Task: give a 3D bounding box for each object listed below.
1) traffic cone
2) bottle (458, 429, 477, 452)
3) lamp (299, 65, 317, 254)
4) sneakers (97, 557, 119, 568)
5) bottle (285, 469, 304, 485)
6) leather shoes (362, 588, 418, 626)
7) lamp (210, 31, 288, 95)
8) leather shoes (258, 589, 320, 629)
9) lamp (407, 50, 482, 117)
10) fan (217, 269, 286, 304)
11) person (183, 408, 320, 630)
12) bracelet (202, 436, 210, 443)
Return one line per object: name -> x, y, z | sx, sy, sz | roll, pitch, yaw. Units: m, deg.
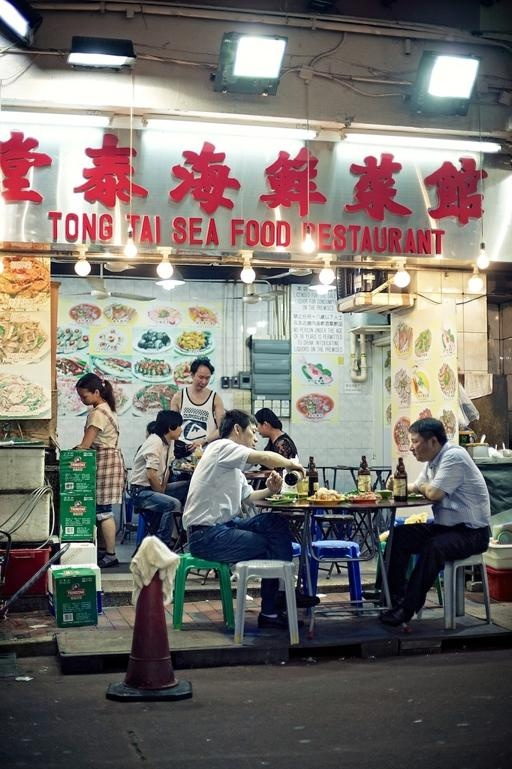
traffic cone -> -0.548, 1.188, 4.356 | 0.438, 0.801, 0.316 | 0, -3, -7
bottle -> 1.964, 0.511, 7.756 | 0.203, 0.183, 0.151 | -6, 3, -6
lamp -> 0.465, -1.947, 7.445 | 0.158, 1.580, 0.346 | -1, -3, 4
sneakers -> -1.324, 1.598, 7.599 | 0.188, 0.076, 0.073 | 9, -11, -35
bottle -> 0.256, 0.635, 5.738 | 0.101, 0.091, 0.151 | 4, 4, 6
leather shoes -> 0.932, 1.525, 5.632 | 0.392, 0.259, 0.148 | 25, -29, -30
lamp -> -0.053, -2.633, 6.979 | 0.541, 0.336, 0.417 | 0, -3, -11
leather shoes -> 0.160, 1.479, 5.484 | 0.548, 0.214, 0.180 | -10, -5, -1
lamp -> 1.681, -2.643, 7.455 | 0.553, 0.502, 0.118 | 6, 34, -12
fan -> -0.020, -1.198, 11.343 | 0.596, 0.225, 0.571 | 1, -6, -31
person -> -0.131, 0.878, 5.540 | 0.819, 1.430, 0.628 | -1, -4, 16
bracelet -> -0.529, 0.596, 9.071 | 0.062, 0.034, 0.078 | -4, -18, -7
